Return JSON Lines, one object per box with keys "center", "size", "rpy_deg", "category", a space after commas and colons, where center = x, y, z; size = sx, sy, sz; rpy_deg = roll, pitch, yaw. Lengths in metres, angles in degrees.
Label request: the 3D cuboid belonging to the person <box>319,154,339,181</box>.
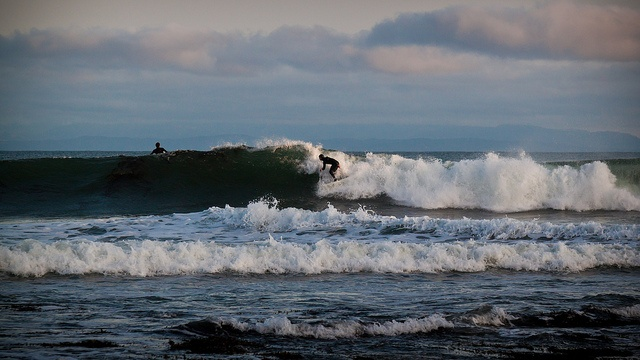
{"center": [0.364, -0.490, 33.704], "size": [0.709, 1.252, 0.429], "rpy_deg": [-17, -35, -11], "category": "person"}
